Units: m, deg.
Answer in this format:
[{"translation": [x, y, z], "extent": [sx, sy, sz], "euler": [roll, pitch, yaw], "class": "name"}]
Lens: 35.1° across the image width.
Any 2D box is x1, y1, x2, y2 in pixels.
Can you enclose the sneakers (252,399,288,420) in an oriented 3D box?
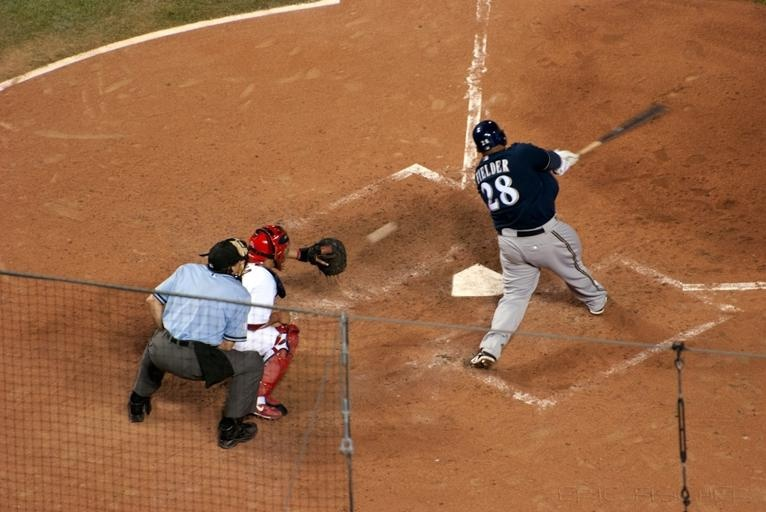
[{"translation": [-1.621, 2.220, 17.368], "extent": [0.508, 0.214, 0.152], "euler": [2, -64, -5], "class": "sneakers"}]
